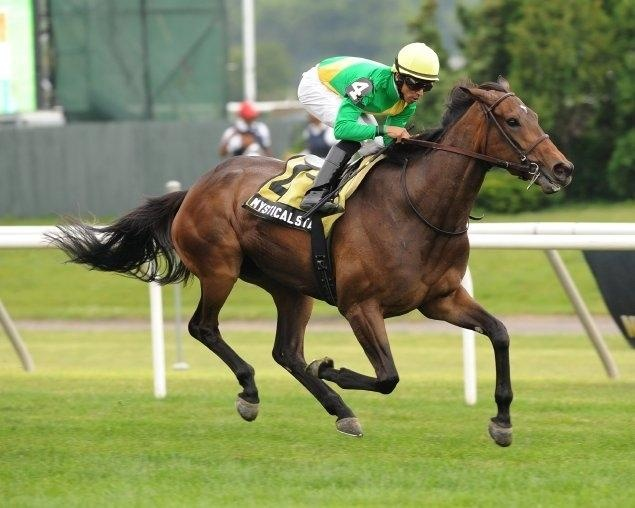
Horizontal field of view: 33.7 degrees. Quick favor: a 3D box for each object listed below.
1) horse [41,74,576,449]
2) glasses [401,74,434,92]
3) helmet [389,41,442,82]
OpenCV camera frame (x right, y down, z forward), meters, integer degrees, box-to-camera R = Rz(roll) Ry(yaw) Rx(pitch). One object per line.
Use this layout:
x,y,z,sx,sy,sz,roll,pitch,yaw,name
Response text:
-0.014,0.068,5.764,1.154,1.817,4.202,1,3,-42,horse
0.468,-0.809,4.948,0.109,0.031,0.102,1,25,-29,glasses
0.461,-0.916,4.990,0.213,0.188,0.188,0,10,3,helmet
